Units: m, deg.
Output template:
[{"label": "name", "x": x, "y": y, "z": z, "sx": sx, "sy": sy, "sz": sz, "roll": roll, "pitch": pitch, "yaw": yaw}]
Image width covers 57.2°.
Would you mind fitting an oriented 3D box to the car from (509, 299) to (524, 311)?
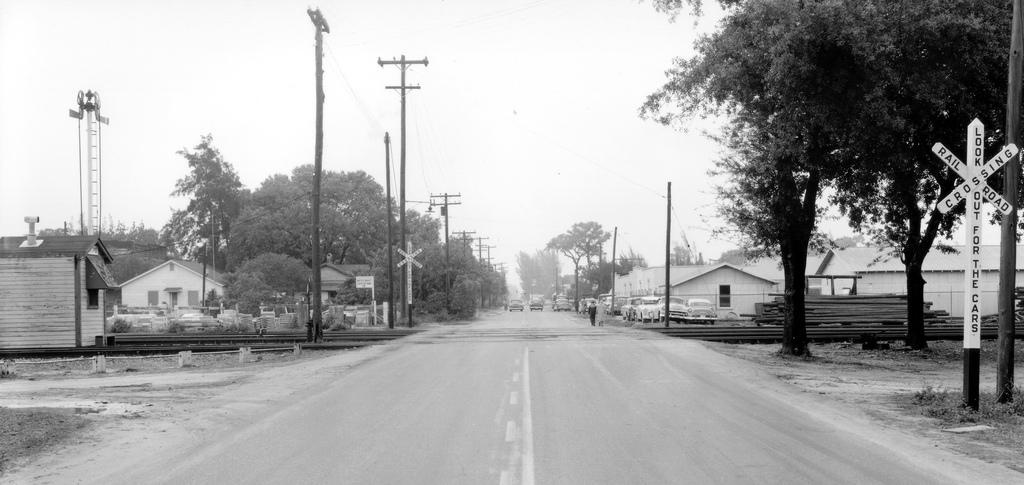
[{"label": "car", "x": 0.428, "y": 8.571, "z": 130.434, "sx": 1.961, "sy": 1.260, "sz": 4.163, "roll": 0, "pitch": -2, "yaw": 1}]
